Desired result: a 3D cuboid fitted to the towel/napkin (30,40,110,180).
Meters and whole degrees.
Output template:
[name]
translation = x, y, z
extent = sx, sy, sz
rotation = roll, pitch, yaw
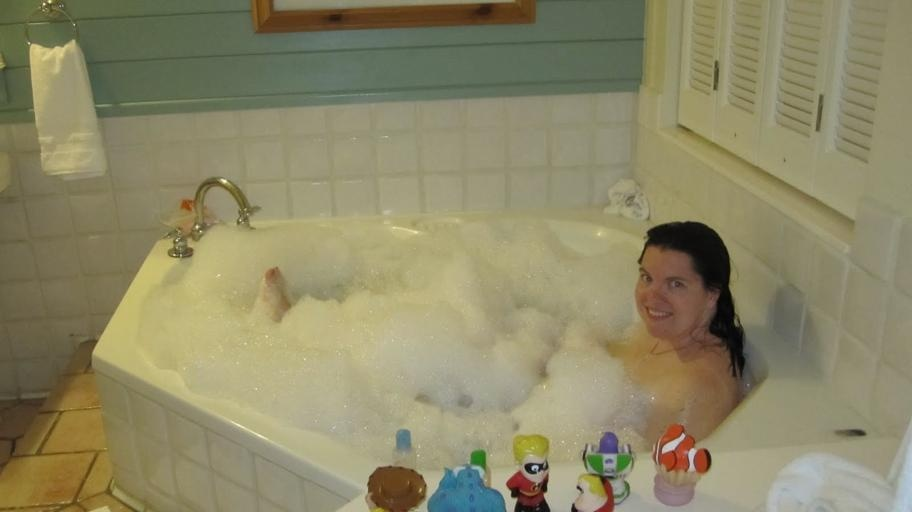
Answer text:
[towel/napkin]
translation = -1.746, -0.651, 3.312
extent = 0.308, 0.595, 0.161
rotation = -7, 8, -8
